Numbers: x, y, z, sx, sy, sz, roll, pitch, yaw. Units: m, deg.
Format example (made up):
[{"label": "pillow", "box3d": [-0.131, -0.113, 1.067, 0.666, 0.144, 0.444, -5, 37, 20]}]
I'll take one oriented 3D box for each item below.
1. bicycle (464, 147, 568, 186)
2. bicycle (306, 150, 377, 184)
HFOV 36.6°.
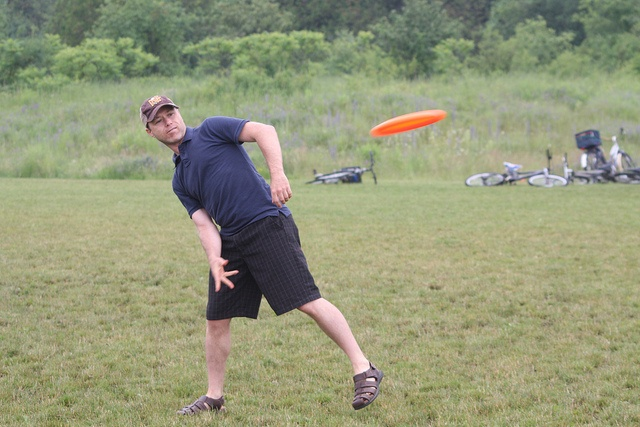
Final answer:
[{"label": "bicycle", "box3d": [6.830, -1.315, 33.520, 3.527, 0.941, 1.263, 6, 16, 26]}, {"label": "bicycle", "box3d": [0.815, -1.118, 35.617, 3.142, 1.321, 1.453, 2, 29, -11]}]
